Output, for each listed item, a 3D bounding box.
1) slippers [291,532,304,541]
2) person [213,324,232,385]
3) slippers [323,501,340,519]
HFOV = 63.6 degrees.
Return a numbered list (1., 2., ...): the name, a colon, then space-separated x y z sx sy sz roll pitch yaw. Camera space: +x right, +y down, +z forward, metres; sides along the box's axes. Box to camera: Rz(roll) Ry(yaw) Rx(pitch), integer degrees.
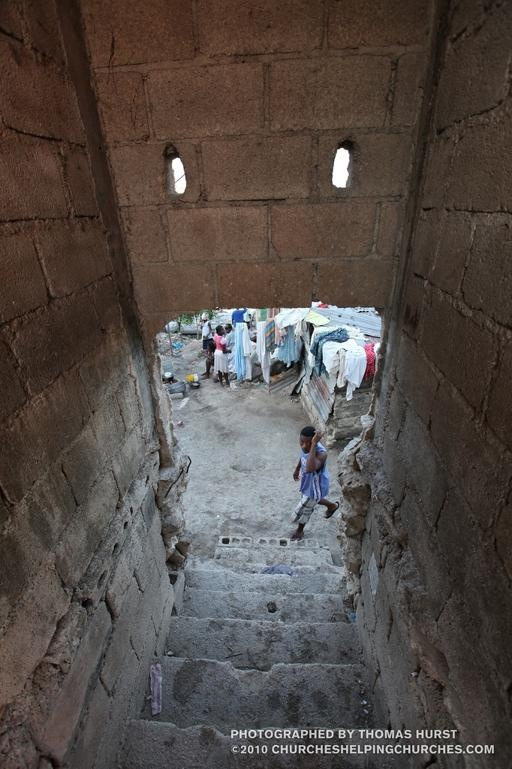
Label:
1. slippers: 0.457 1.329 4.502 0.151 0.063 0.122 2 -84 -7
2. person: -0.664 -1.004 8.448 0.329 0.353 1.153 -18 -62 -33
3. slippers: 0.861 1.067 4.719 0.117 0.129 0.354 5 -35 2
